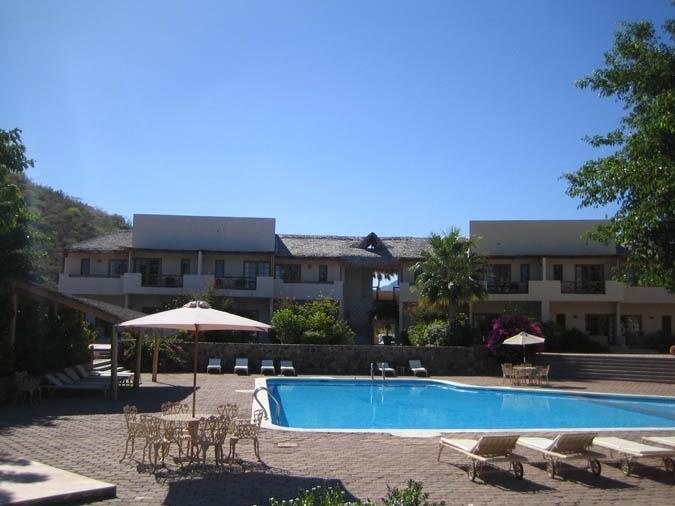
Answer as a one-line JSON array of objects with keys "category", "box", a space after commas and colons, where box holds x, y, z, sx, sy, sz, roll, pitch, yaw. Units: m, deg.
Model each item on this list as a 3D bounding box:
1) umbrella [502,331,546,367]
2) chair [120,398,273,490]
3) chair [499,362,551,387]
[{"category": "umbrella", "box": [9.156, 4.237, 28.828, 1.915, 1.570, 2.036, 10, -17, -24]}, {"category": "chair", "box": [-3.617, 4.577, 15.055, 3.403, 1.497, 2.536, 1, -11, -6]}, {"category": "chair", "box": [8.885, 5.730, 28.280, 2.064, 1.009, 1.634, -6, -13, 26]}]
